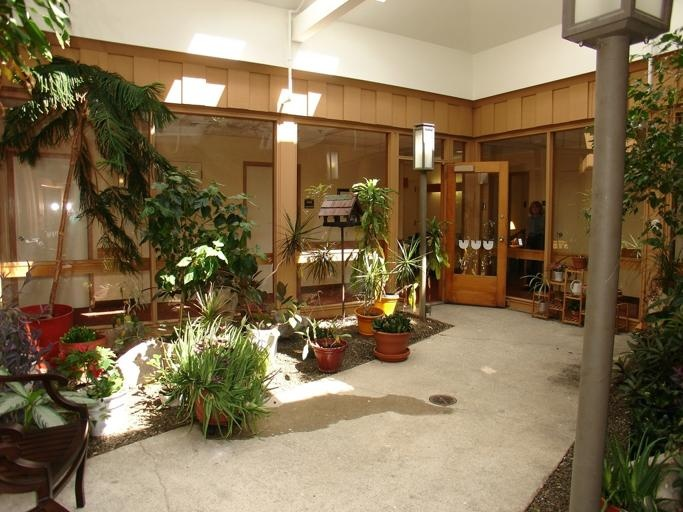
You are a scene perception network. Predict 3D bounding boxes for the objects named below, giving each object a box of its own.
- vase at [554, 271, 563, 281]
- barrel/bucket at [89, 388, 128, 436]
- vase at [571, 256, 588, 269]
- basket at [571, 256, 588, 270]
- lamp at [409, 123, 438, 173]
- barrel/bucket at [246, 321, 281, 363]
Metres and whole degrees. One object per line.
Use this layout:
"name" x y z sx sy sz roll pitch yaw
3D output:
"vase" 2.993 0.282 6.572 0.108 0.097 0.119 1 1 0
"barrel/bucket" -1.746 1.185 3.644 0.259 0.220 0.276 0 14 0
"vase" 3.132 0.091 6.259 0.140 0.123 0.150 3 4 20
"basket" 3.118 0.091 6.229 0.155 0.137 0.167 2 2 7
"lamp" 1.098 -1.431 6.306 0.241 0.589 0.258 -1 12 5
"barrel/bucket" -0.717 0.840 4.681 0.357 0.324 0.350 1 6 0
